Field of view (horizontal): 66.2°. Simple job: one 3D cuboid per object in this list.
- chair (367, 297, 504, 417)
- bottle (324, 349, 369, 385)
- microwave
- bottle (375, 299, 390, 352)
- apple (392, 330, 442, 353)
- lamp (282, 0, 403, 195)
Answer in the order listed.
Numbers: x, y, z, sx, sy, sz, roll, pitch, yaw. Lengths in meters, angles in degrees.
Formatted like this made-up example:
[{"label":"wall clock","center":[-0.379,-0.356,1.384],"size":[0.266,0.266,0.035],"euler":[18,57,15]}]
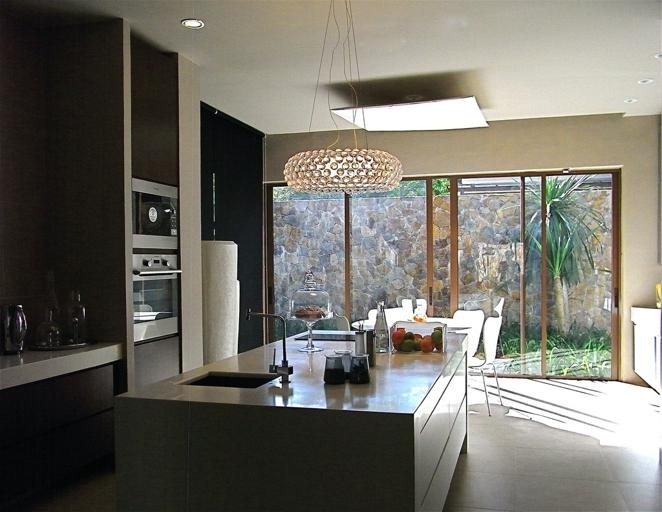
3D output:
[{"label":"chair","center":[1.121,1.244,4.932],"size":[1.025,1.603,1.525],"euler":[0,-2,18]},{"label":"bottle","center":[0.078,0.525,2.399],"size":[0.200,0.128,0.111],"euler":[-1,0,9]},{"label":"microwave","center":[-1.253,-0.268,3.542],"size":[0.155,0.440,0.506],"euler":[-2,-4,11]},{"label":"bottle","center":[0.306,0.414,3.033],"size":[0.092,0.308,0.287],"euler":[-1,1,5]},{"label":"apple","center":[0.517,0.499,3.019],"size":[0.297,0.138,0.102],"euler":[-1,1,9]},{"label":"lamp","center":[0.043,-1.078,4.321],"size":[0.871,1.178,2.151],"euler":[-2,1,-4]}]
